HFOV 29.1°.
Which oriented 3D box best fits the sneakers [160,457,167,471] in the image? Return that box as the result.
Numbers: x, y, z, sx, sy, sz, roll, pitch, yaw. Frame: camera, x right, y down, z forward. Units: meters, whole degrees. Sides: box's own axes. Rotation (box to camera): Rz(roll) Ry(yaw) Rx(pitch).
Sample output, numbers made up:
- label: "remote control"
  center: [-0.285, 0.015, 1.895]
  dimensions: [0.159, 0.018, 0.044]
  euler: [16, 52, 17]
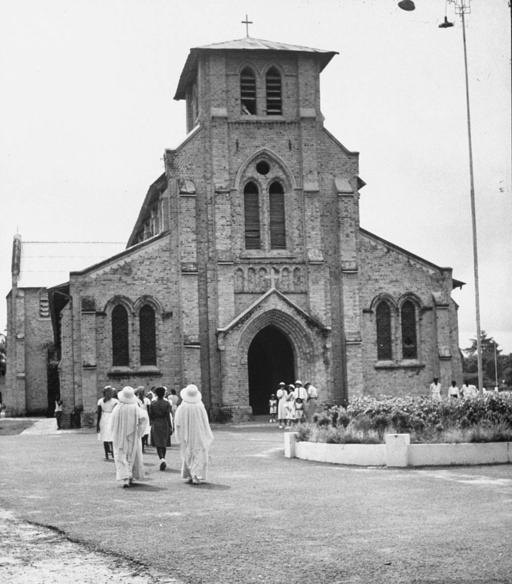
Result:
- label: "sneakers"
  center: [-1.774, 3.258, 18.791]
  dimensions: [0.099, 0.137, 0.311]
  euler: [0, -3, -4]

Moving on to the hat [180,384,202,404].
- label: "hat"
  center: [-1.152, 1.739, 17.004]
  dimensions: [0.312, 0.348, 0.098]
  euler: [-4, -7, -25]
